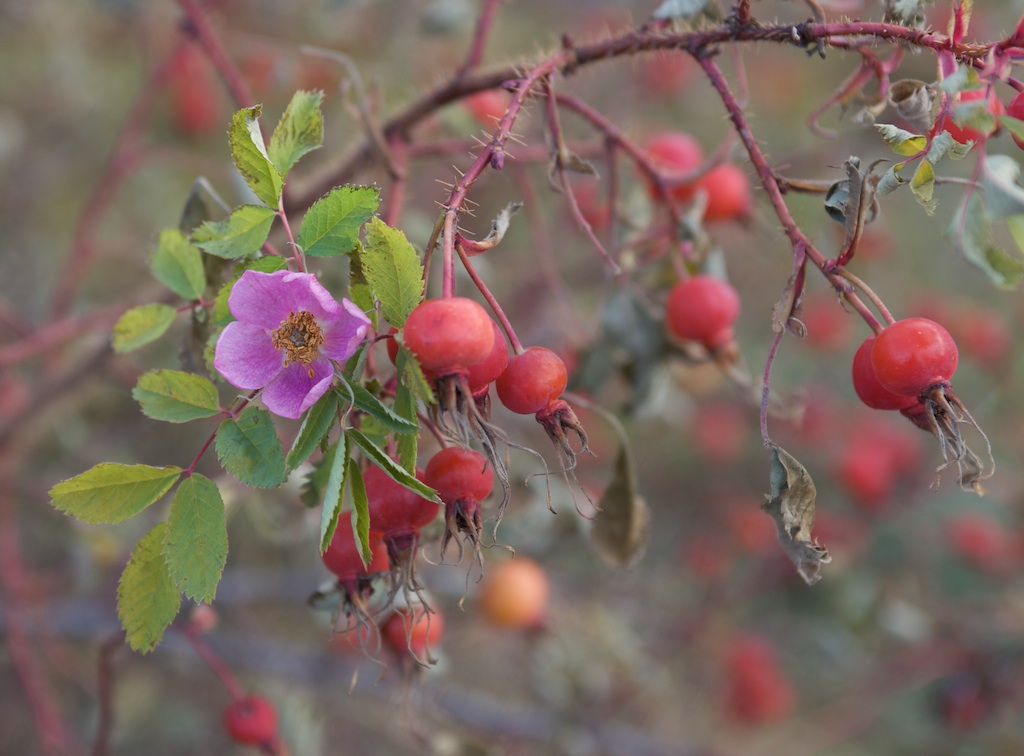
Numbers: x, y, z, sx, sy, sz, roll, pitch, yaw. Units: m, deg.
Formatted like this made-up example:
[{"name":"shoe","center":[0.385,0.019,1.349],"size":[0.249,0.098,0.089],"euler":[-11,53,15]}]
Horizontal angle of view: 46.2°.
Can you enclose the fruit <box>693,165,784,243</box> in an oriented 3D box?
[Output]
[{"name":"fruit","center":[0.541,-0.437,2.883],"size":[0.228,0.125,0.115],"euler":[32,-32,-35]}]

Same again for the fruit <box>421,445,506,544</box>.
[{"name":"fruit","center":[-0.092,0.226,2.173],"size":[0.128,0.208,0.136],"euler":[-17,-21,35]}]

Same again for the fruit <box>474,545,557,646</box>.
[{"name":"fruit","center":[0.020,0.549,3.146],"size":[0.224,0.252,0.231],"euler":[11,-29,-20]}]

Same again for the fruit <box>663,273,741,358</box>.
[{"name":"fruit","center":[0.406,-0.137,2.616],"size":[0.150,0.184,0.145],"euler":[12,-17,-11]}]

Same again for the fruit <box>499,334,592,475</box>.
[{"name":"fruit","center":[0.059,0.050,2.156],"size":[0.100,0.233,0.131],"euler":[-29,9,34]}]

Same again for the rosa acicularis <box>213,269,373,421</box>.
[{"name":"rosa acicularis","center":[-0.410,-0.082,2.185],"size":[0.242,0.134,0.288],"euler":[-9,-1,12]}]

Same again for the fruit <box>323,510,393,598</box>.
[{"name":"fruit","center":[-0.287,0.328,2.244],"size":[0.101,0.139,0.133],"euler":[-18,24,4]}]

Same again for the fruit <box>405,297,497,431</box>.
[{"name":"fruit","center":[-0.113,-0.031,2.107],"size":[0.163,0.260,0.175],"euler":[1,12,25]}]

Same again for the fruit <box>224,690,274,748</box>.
[{"name":"fruit","center":[-0.564,0.741,2.592],"size":[0.114,0.111,0.078],"euler":[2,-26,-15]}]

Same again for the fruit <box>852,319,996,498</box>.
[{"name":"fruit","center":[0.725,0.008,2.204],"size":[0.199,0.346,0.182],"euler":[-42,-12,15]}]
